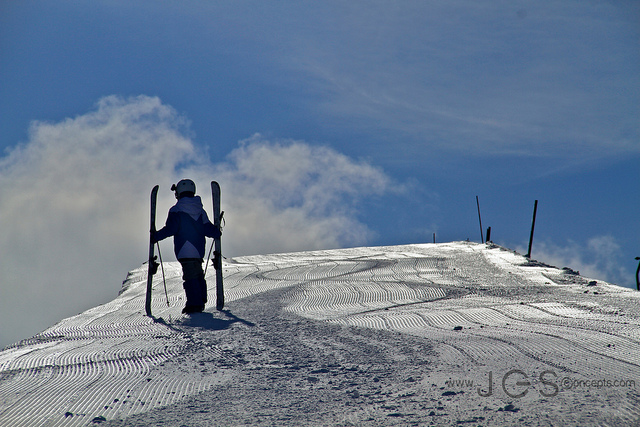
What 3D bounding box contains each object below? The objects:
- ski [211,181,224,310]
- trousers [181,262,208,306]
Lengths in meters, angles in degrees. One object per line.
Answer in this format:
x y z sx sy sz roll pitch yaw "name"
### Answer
-1.970 0.728 15.382 0.296 2.625 0.193 -1 -2 2 "ski"
-2.527 1.422 16.199 0.438 0.808 0.557 -5 11 -10 "trousers"
